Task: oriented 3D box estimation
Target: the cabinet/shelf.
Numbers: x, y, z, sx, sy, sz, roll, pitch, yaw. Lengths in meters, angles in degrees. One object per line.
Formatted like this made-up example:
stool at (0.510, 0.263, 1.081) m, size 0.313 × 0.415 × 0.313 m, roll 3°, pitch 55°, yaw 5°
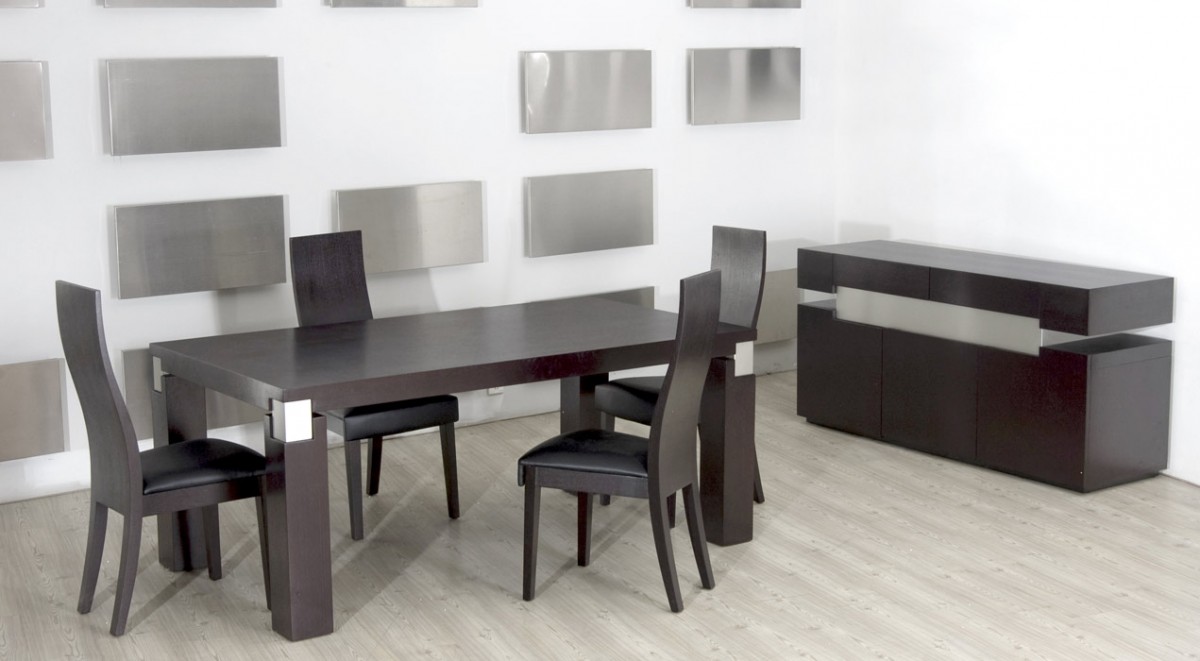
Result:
cabinet/shelf at (2.757, 0.193, 6.531) m, size 0.913 × 1.356 × 2.532 m, roll -10°, pitch 14°, yaw -28°
